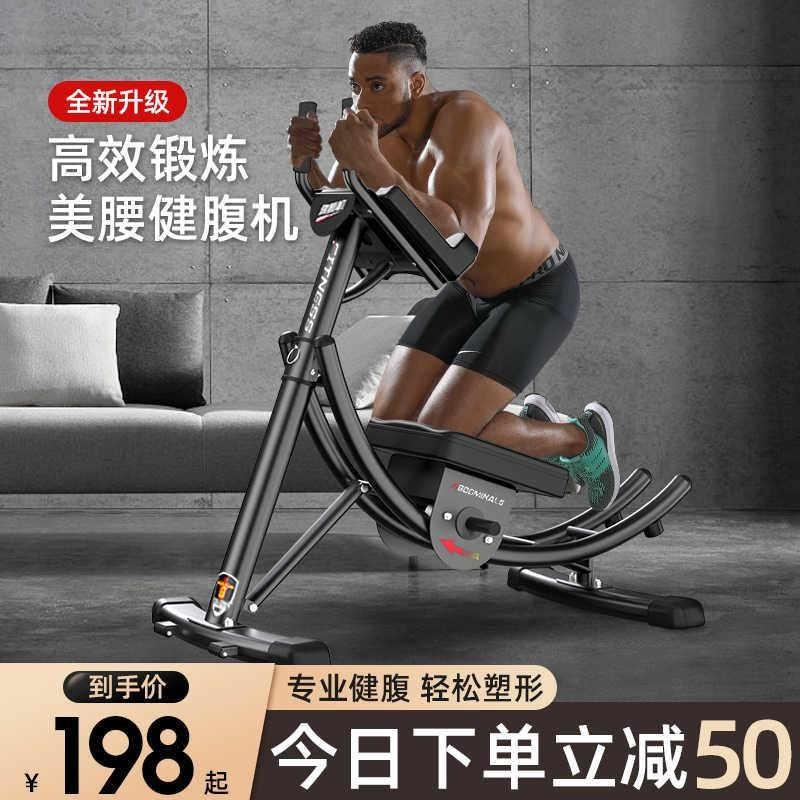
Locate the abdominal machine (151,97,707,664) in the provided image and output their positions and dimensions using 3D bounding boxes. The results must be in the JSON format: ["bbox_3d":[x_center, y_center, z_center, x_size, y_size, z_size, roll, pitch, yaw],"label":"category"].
[{"bbox_3d":[0.088,-0.071,2.355,1.055,1.135,0.478,2,3,-28],"label":"abdominal machine"}]
